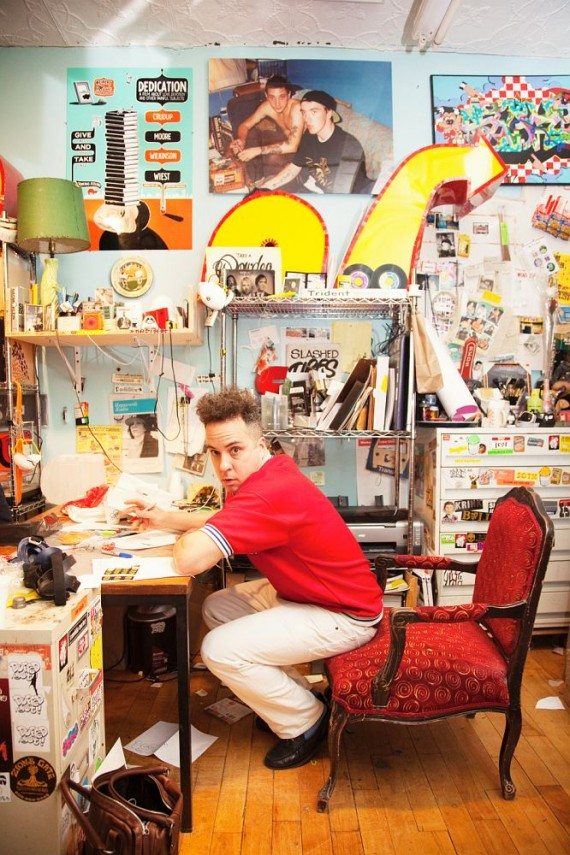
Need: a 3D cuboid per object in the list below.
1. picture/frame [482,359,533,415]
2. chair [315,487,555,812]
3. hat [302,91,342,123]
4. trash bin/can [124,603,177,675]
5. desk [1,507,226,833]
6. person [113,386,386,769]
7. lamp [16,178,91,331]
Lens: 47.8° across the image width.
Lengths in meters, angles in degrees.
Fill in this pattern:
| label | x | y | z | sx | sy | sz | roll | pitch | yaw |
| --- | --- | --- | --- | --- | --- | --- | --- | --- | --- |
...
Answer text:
| label | x | y | z | sx | sy | sz | roll | pitch | yaw |
| --- | --- | --- | --- | --- | --- | --- | --- | --- | --- |
| picture/frame | 1.005 | -0.177 | 2.911 | 0.238 | 0.279 | 0.036 | 2 | 6 | 2 |
| chair | 0.452 | 0.553 | 2.108 | 0.769 | 1.075 | 0.777 | 0 | -2 | 3 |
| hat | 0.166 | -1.426 | 2.862 | 0.137 | 0.066 | 0.101 | 33 | 6 | -13 |
| trash bin/can | -0.517 | 0.834 | 2.498 | 0.205 | 0.225 | 0.202 | -3 | 0 | -31 |
| desk | -0.532 | 0.543 | 1.978 | 0.605 | 0.819 | 0.869 | -1 | 5 | 3 |
| person | -0.120 | 0.453 | 1.940 | 0.828 | 1.064 | 0.518 | -3 | -2 | 10 |
| lamp | -0.937 | -0.712 | 2.562 | 0.292 | 0.631 | 0.337 | 1 | 4 | 4 |
